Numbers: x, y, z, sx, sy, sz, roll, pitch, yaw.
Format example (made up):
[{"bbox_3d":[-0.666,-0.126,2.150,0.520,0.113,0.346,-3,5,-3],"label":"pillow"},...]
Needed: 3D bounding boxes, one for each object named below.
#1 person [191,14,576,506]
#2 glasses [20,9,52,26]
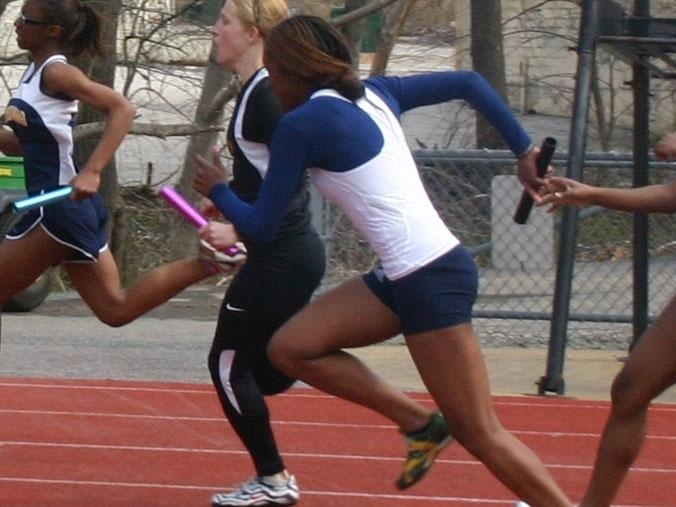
[{"bbox_3d":[0.209,0.019,3.665,1.685,2.136,0.746,5,13,11],"label":"person"},{"bbox_3d":[-1.638,-1.269,4.403,0.147,0.024,0.109,5,7,-19],"label":"glasses"}]
